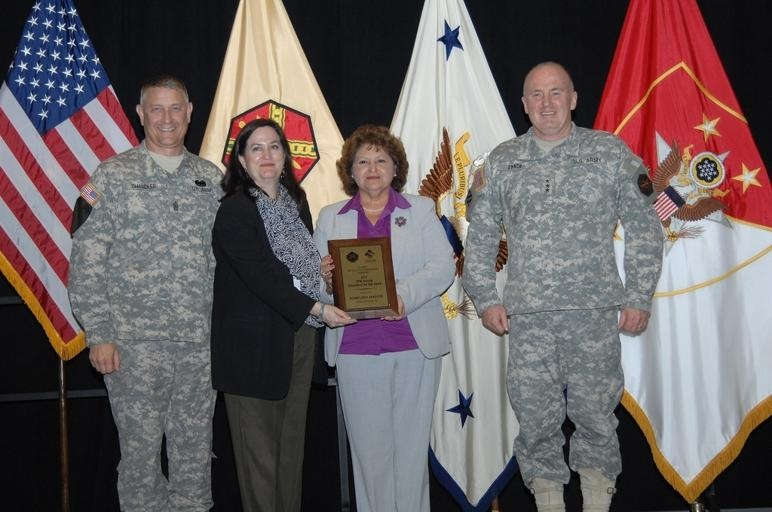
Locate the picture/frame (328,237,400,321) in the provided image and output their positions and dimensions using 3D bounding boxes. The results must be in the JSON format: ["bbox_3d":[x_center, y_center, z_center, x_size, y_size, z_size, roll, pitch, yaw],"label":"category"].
[{"bbox_3d":[-0.141,0.138,4.339,0.412,0.551,0.070,-7,-4,-2],"label":"picture/frame"}]

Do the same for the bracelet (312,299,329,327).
[{"bbox_3d":[-0.408,0.336,4.429,0.093,0.135,0.147,6,45,-9],"label":"bracelet"}]
